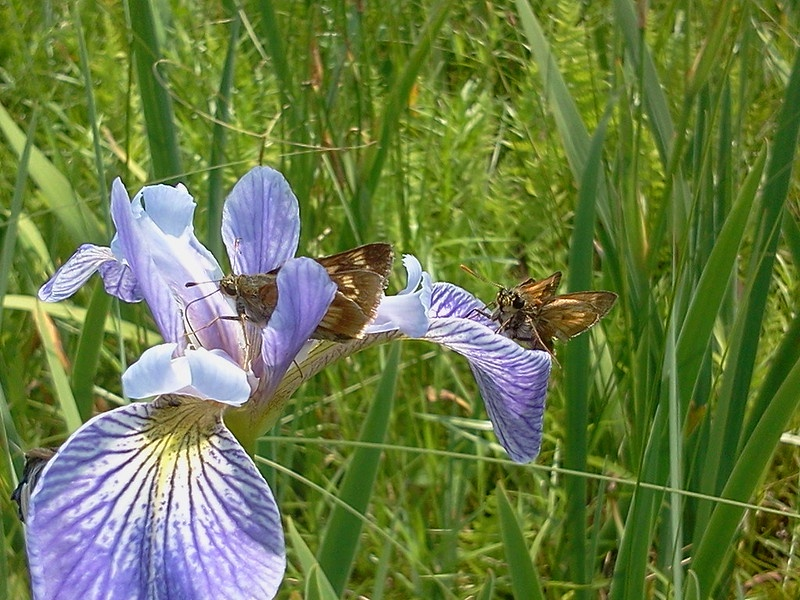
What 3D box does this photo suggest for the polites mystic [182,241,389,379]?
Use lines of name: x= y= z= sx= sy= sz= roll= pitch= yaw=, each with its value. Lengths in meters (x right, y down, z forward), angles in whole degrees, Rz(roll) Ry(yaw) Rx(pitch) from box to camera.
polites mystic: x=-0.193 y=-0.013 z=1.915 sx=0.279 sy=0.219 sz=0.279 roll=1 pitch=9 yaw=5
